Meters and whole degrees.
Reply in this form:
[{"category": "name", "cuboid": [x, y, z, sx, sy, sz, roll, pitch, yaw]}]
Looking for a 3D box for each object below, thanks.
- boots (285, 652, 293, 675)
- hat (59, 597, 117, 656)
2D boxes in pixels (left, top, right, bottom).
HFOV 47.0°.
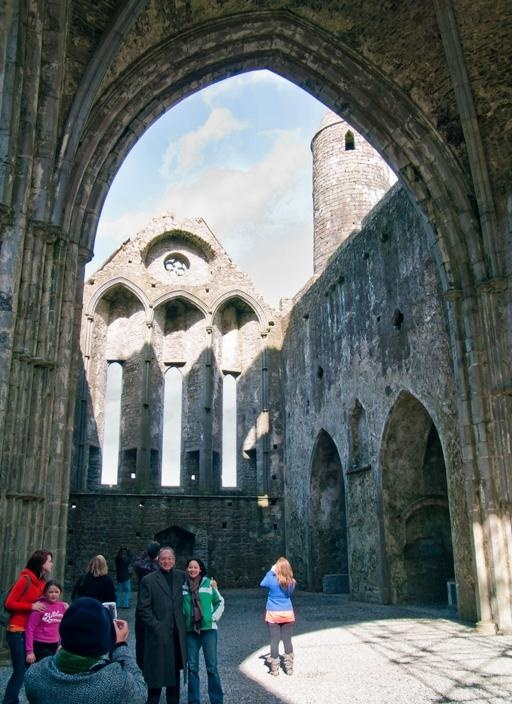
[{"category": "boots", "cuboid": [0.278, 2.673, 5.046, 0.077, 0.136, 0.192, -2, -15, 2]}, {"category": "hat", "cuboid": [-0.441, 0.713, 1.521, 0.136, 0.149, 0.173, -7, -38, 1]}]
